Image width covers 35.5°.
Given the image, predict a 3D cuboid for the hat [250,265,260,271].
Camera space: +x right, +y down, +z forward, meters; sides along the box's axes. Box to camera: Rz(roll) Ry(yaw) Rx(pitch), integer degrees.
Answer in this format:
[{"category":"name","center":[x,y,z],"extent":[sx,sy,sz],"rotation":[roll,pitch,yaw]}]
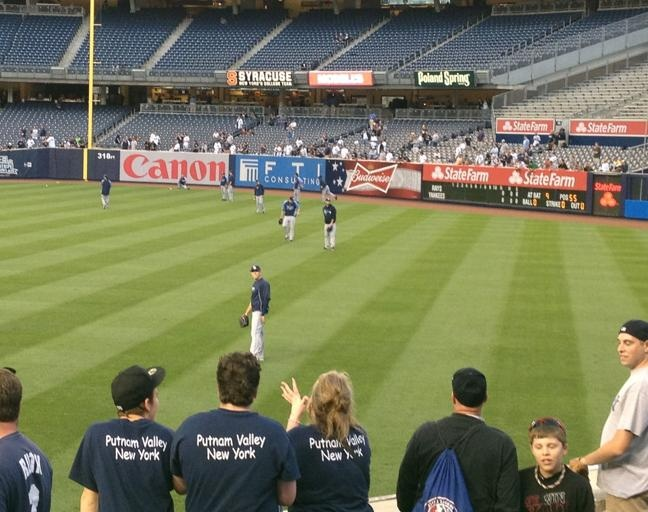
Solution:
[{"category":"hat","center":[-1.406,0.278,21.002],"extent":[0.173,0.124,0.239],"rotation":[-1,6,-15]}]

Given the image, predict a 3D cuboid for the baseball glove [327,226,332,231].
[{"category":"baseball glove","center":[0.187,-0.835,31.115],"extent":[0.161,0.166,0.206],"rotation":[2,5,11]}]

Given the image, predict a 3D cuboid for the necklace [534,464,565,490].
[{"category":"necklace","center":[2.857,2.861,13.012],"extent":[0.282,0.334,0.143],"rotation":[1,-1,7]}]

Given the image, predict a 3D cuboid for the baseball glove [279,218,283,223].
[{"category":"baseball glove","center":[-1.365,-1.139,32.586],"extent":[0.150,0.123,0.225],"rotation":[3,-4,1]}]

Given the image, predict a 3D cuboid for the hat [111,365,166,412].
[{"category":"hat","center":[-2.429,1.648,13.175],"extent":[0.470,0.380,0.727],"rotation":[19,42,34]}]
